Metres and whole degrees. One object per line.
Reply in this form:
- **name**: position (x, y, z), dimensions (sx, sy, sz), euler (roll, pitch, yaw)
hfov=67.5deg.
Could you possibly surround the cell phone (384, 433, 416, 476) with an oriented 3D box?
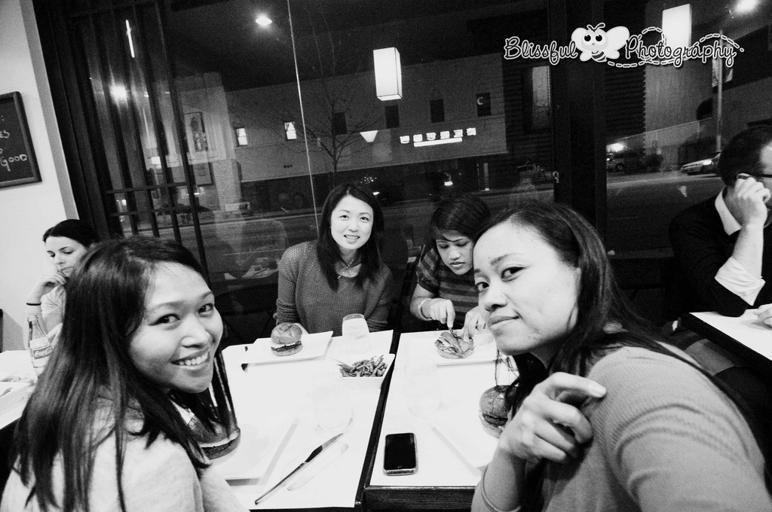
- **cell phone**: position (0.054, 0.780, 2.269), dimensions (0.131, 0.090, 0.159), euler (-6, 12, 1)

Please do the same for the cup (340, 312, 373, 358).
- **cup**: position (-0.152, 0.402, 2.925), dimensions (0.163, 0.171, 0.188), euler (-5, -2, -25)

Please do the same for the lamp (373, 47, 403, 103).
- **lamp**: position (0.013, -1.197, 3.806), dimensions (0.194, 0.346, 0.109), euler (-7, 13, 2)

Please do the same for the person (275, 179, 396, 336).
- **person**: position (-0.348, 0.027, 3.539), dimensions (0.708, 0.913, 0.230), euler (-4, 13, 11)

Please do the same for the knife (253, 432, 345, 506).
- **knife**: position (-0.336, 0.842, 2.247), dimensions (0.062, 0.027, 0.358), euler (8, 31, 44)
